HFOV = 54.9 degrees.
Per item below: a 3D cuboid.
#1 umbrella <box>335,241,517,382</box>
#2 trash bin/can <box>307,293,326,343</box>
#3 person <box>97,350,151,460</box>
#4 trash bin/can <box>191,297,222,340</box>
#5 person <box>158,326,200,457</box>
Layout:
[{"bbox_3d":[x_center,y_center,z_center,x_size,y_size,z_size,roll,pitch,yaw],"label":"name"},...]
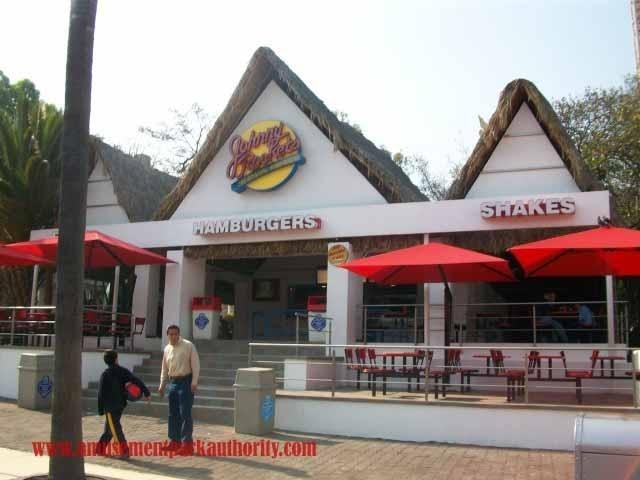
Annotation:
[{"bbox_3d":[2.483,1.310,14.346,3.264,2.145,3.070,8,-7,-43],"label":"umbrella"},{"bbox_3d":[-0.057,2.281,17.799,0.538,1.375,1.043,1,-12,-1],"label":"trash bin/can"},{"bbox_3d":[-3.654,2.986,11.260,0.762,1.911,0.629,5,-13,-20],"label":"person"},{"bbox_3d":[-3.636,2.470,19.352,0.893,1.347,0.567,0,-12,2],"label":"trash bin/can"},{"bbox_3d":[-2.637,2.780,11.494,0.672,2.293,0.663,4,-12,-12],"label":"person"}]
